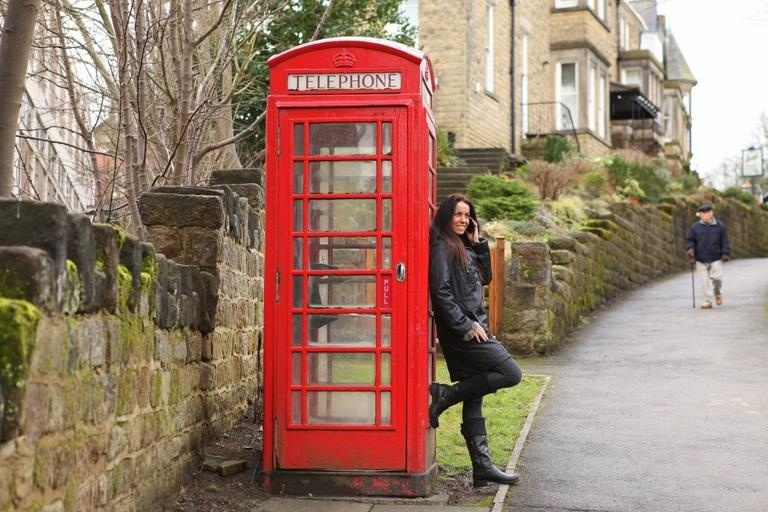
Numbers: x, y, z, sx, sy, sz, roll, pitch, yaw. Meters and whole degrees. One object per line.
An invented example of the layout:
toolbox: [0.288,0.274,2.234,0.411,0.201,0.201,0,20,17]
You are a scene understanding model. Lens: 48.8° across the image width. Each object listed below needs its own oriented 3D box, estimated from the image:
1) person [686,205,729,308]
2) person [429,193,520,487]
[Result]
person: [7.095,-0.036,18.561,0.832,2.315,1.514,-2,-2,20]
person: [0.832,0.790,8.104,0.850,2.801,0.584,-1,-2,-4]
